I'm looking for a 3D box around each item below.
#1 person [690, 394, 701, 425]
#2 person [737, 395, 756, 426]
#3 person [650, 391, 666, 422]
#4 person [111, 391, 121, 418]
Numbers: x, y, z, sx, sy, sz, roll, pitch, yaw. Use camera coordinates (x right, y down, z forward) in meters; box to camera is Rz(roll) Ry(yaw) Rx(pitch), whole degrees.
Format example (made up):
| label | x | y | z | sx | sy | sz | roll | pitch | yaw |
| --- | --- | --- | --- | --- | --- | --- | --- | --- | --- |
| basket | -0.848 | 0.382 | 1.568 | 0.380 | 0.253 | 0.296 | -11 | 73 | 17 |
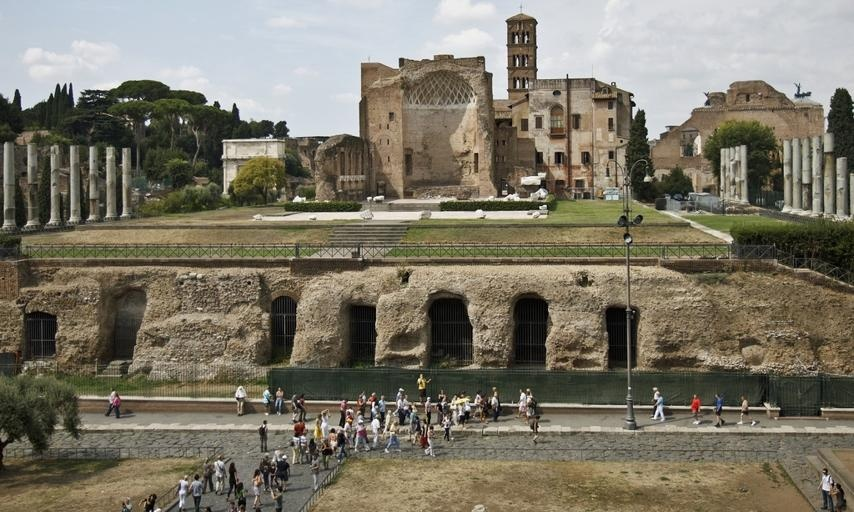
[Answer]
| label | x | y | z | sx | sy | sz | roll | pitch | yaw |
| --- | --- | --- | --- | --- | --- | --- | --- | --- | --- |
| person | 16.949 | 9.689 | 75.514 | 0.568 | 1.318 | 1.449 | -1 | 0 | 11 |
| person | 20.026 | 9.751 | 75.350 | 0.966 | 1.363 | 1.928 | -1 | 0 | 14 |
| person | 14.660 | 9.477 | 76.006 | 0.883 | 1.487 | 1.473 | -1 | 0 | 10 |
| person | -20.052 | 9.695 | 77.804 | 0.537 | 1.696 | 0.742 | -1 | -1 | -16 |
